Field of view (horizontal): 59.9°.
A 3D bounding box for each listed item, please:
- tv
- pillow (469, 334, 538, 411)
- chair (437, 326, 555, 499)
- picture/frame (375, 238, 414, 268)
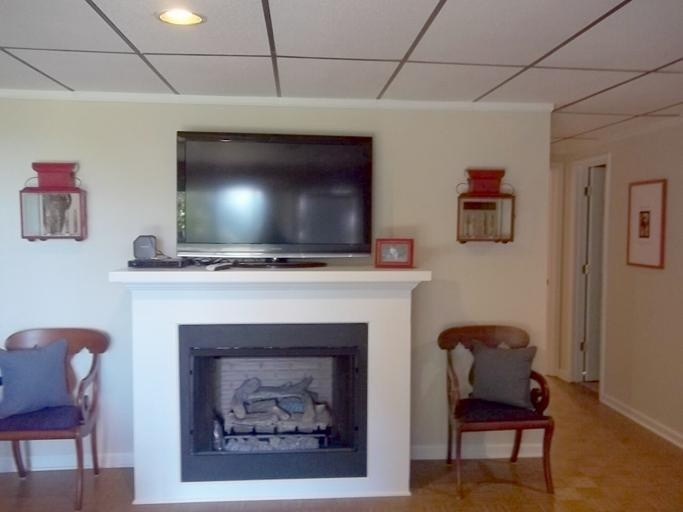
[{"bbox_3d":[-0.561,-0.446,4.450,1.055,0.700,0.131,0,0,-4],"label":"tv"},{"bbox_3d":[1.213,0.880,4.441,0.515,0.469,0.186,2,-21,26],"label":"pillow"},{"bbox_3d":[1.129,1.083,4.382,0.710,1.029,0.750,1,1,-2],"label":"chair"},{"bbox_3d":[0.396,-0.021,4.402,0.216,0.177,0.023,0,-4,-2],"label":"picture/frame"}]
